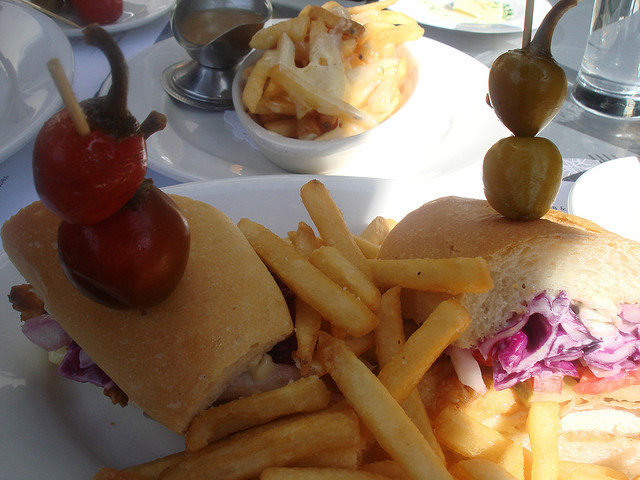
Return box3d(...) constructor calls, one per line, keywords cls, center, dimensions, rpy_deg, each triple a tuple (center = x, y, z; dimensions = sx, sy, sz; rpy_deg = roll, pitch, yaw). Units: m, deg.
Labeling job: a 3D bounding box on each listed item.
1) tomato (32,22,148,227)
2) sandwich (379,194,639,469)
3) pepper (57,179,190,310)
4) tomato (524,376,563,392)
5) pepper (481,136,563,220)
box3d(cls="tomato", center=(-0.450, -0.232, 1.243), dimensions=(0.230, 0.399, 0.224), rpy_deg=(22, 22, -8))
box3d(cls="sandwich", center=(0.539, 0.226, 1.591), dimensions=(0.562, 0.259, 0.683), rpy_deg=(2, 50, -1))
box3d(cls="pepper", center=(-0.461, 0.038, 1.407), dimensions=(0.248, 0.303, 0.169), rpy_deg=(-20, 33, -23))
box3d(cls="tomato", center=(0.528, 0.335, 1.394), dimensions=(0.049, 0.014, 0.046), rpy_deg=(-1, 8, 2))
box3d(cls="pepper", center=(0.471, -0.136, 1.415), dimensions=(0.202, 0.199, 0.192), rpy_deg=(-2, 2, 0))
